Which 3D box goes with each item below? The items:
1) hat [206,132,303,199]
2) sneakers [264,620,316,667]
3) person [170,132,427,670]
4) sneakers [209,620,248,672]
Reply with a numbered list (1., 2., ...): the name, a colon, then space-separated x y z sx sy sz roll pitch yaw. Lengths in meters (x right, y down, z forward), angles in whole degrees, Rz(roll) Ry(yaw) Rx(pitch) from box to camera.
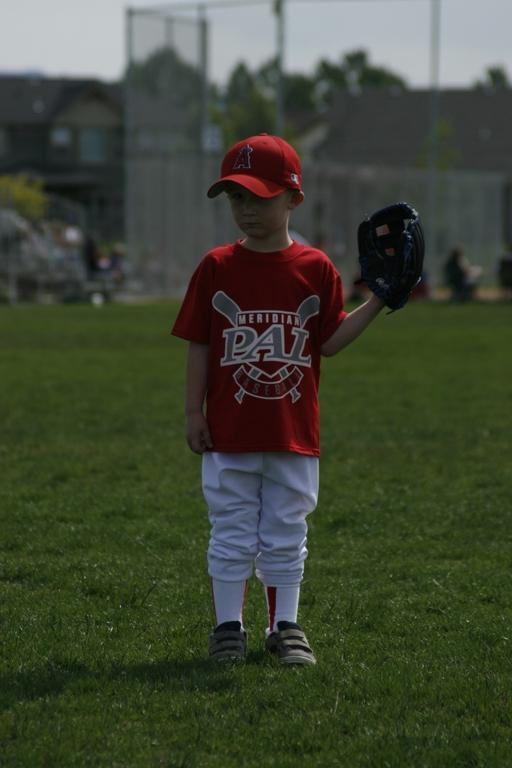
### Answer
1. hat: -0.004 -0.560 3.367 0.199 0.158 0.286 9 14 37
2. sneakers: 0.084 0.635 3.303 0.115 0.081 0.158 -1 12 -5
3. person: 0.099 0.030 3.331 0.608 1.280 0.465 -2 12 -6
4. sneakers: -0.074 0.636 3.294 0.090 0.076 0.110 -1 12 -4
